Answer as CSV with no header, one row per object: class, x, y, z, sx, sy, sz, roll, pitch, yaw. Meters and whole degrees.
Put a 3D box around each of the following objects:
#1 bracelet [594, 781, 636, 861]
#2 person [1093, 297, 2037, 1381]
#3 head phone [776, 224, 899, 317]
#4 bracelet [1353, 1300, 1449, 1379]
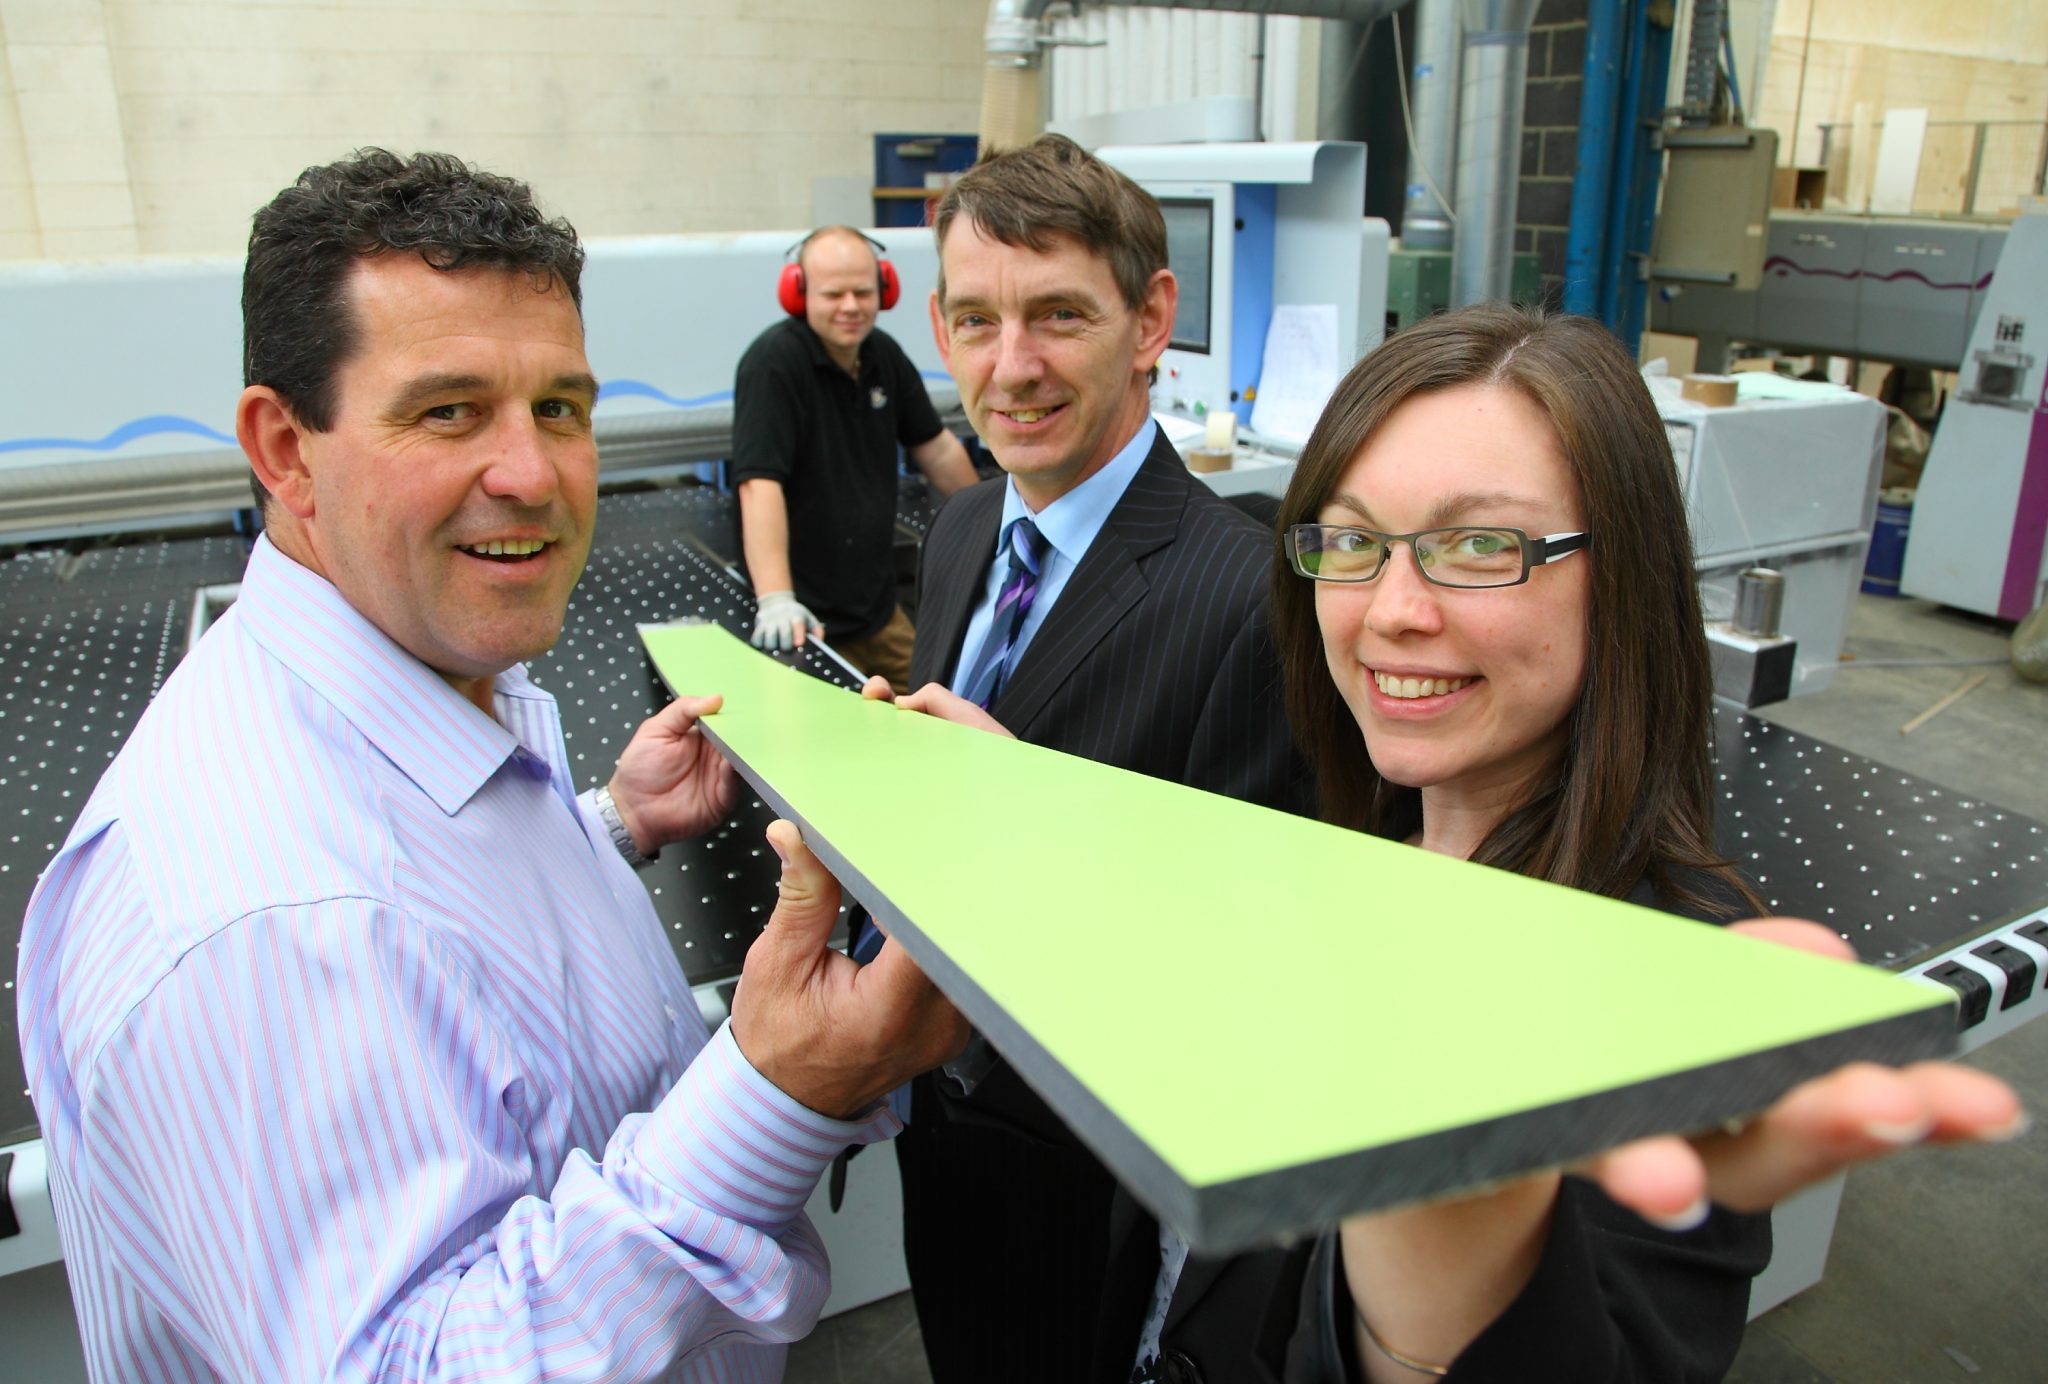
bracelet,-0.567,0.182,2.017,0.062,0.068,0.062,30,64,30
person,0.434,0.230,1.445,0.646,1.094,0.756,0,21,4
head phone,-0.466,-1.042,3.627,0.330,0.286,0.137,-5,3,-16
bracelet,0.356,0.627,1.398,0.100,0.038,0.022,18,28,40
